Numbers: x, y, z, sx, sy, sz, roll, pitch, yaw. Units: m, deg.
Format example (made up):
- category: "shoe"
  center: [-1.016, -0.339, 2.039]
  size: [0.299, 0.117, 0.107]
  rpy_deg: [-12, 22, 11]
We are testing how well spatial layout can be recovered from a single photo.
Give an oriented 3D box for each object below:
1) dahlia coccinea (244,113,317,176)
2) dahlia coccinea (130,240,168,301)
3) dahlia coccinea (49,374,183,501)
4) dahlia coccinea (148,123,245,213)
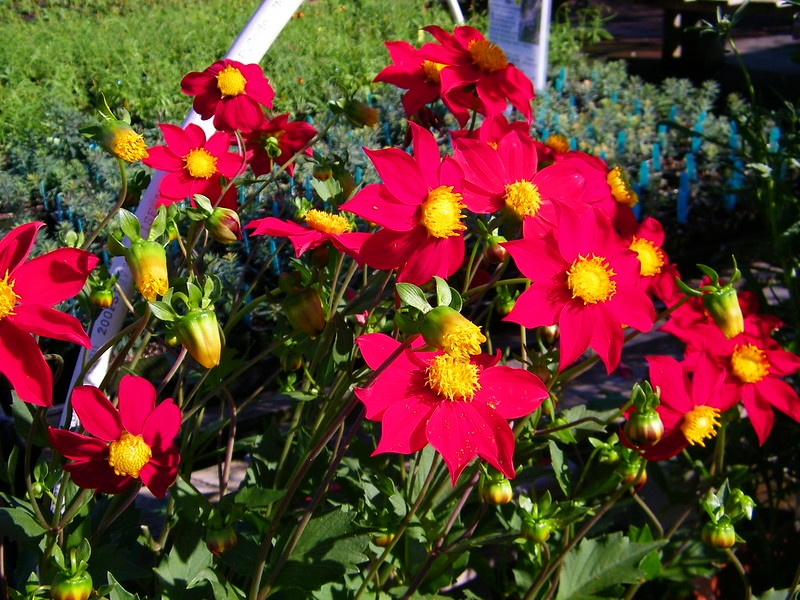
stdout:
- category: "dahlia coccinea"
  center: [-0.278, -0.328, 1.608]
  size: [0.165, 0.052, 0.152]
  rpy_deg: [-18, -18, 26]
- category: "dahlia coccinea"
  center: [-0.379, -0.031, 1.125]
  size: [0.058, 0.092, 0.128]
  rpy_deg: [-2, 24, -20]
- category: "dahlia coccinea"
  center: [-0.457, 0.223, 1.207]
  size: [0.196, 0.211, 0.075]
  rpy_deg: [3, 19, -9]
- category: "dahlia coccinea"
  center: [-0.403, -0.288, 1.511]
  size: [0.159, 0.049, 0.181]
  rpy_deg: [5, -20, 20]
